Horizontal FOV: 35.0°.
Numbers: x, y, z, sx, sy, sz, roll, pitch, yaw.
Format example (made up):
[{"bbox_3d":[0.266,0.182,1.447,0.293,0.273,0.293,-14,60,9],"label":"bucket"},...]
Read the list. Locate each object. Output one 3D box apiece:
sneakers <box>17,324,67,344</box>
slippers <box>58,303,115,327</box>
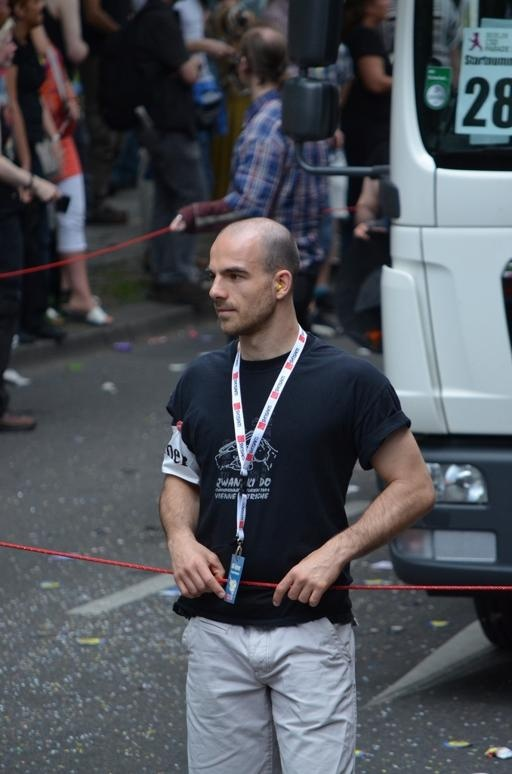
[{"bbox_3d":[-0.794,-0.194,3.000,0.178,0.071,0.058,-5,10,-21],"label":"sneakers"},{"bbox_3d":[-0.640,-0.266,3.095,0.154,0.045,0.061,19,24,-31],"label":"slippers"}]
